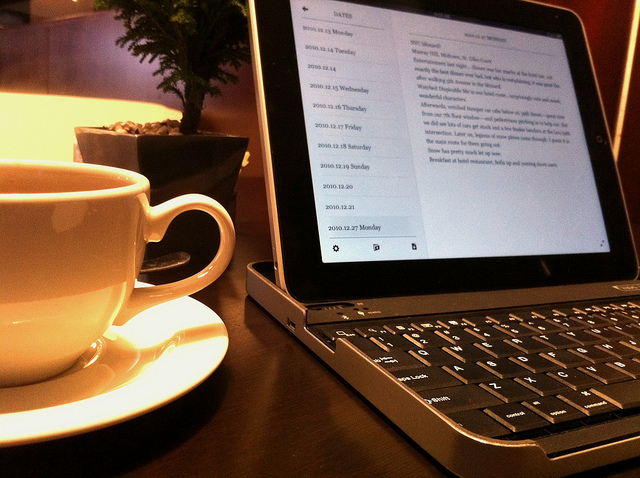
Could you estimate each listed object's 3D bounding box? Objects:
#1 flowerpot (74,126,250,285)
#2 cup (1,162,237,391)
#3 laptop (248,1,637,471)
[{"bbox_3d":[-0.171,-0.032,0.581,0.162,0.177,0.182,3,10,-8],"label":"flowerpot"},{"bbox_3d":[-0.132,0.025,0.336,0.157,0.094,0.108,5,15,-25],"label":"cup"},{"bbox_3d":[0.083,-0.007,0.356,0.260,0.187,0.222,4,25,-35],"label":"laptop"}]
